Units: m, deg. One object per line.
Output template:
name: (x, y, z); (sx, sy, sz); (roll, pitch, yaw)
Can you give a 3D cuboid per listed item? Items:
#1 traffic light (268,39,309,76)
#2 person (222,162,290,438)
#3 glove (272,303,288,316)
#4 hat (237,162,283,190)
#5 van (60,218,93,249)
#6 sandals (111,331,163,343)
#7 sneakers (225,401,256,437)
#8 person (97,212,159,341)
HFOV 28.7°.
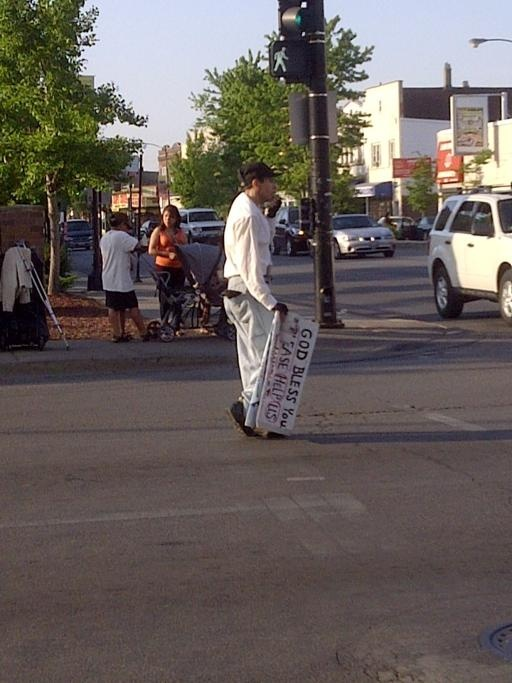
traffic light: (0.398, -3.620, 12.930); (0.579, 0.491, 0.262); (-4, 6, -33)
person: (-0.008, -0.245, 6.695); (0.405, 1.872, 0.499); (-1, 5, -2)
glove: (0.162, -0.205, 6.564); (0.066, 0.080, 0.087); (5, -2, 34)
hat: (0.001, -1.112, 6.767); (0.223, 0.186, 0.361); (-1, 6, -1)
van: (-10.482, -6.326, 58.946); (1.730, 1.708, 3.259); (-2, 1, -13)
sandals: (-1.459, -0.044, 12.708); (0.405, 0.105, 0.244); (-4, 2, 3)
sneakers: (-0.105, 0.528, 6.866); (0.104, 0.318, 0.135); (-26, -24, -17)
person: (-1.614, -0.777, 12.474); (0.539, 1.597, 0.585); (-3, 6, -26)
